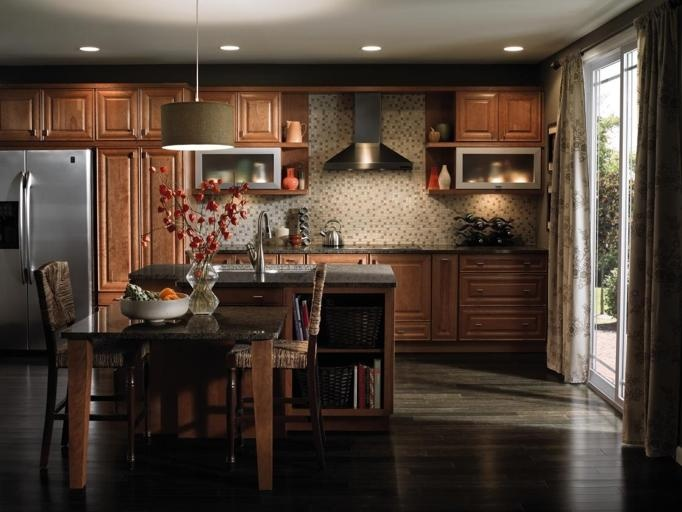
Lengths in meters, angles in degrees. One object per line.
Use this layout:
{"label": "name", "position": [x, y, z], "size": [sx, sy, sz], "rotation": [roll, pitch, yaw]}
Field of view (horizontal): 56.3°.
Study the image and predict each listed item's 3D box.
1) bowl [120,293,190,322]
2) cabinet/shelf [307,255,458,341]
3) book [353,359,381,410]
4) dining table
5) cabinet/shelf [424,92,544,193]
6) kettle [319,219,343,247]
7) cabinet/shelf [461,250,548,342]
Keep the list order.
{"label": "bowl", "position": [-1.093, 0.316, 3.783], "size": [0.228, 0.080, 0.216], "rotation": [-1, 4, 0]}
{"label": "cabinet/shelf", "position": [0.189, 0.313, 6.791], "size": [1.798, 0.966, 0.903], "rotation": [1, 17, -6]}
{"label": "book", "position": [0.193, 0.908, 4.543], "size": [0.252, 0.314, 0.110], "rotation": [-1, 1, 43]}
{"label": "dining table", "position": [-0.945, 0.963, 4.274], "size": [1.304, 0.863, 1.203], "rotation": [-2, -7, 7]}
{"label": "cabinet/shelf", "position": [1.545, -1.188, 6.653], "size": [1.206, 0.983, 0.433], "rotation": [0, 1, 3]}
{"label": "kettle", "position": [-0.101, -0.229, 6.921], "size": [0.342, 0.301, 0.218], "rotation": [-2, 6, -17]}
{"label": "cabinet/shelf", "position": [1.477, 0.414, 6.824], "size": [1.222, 1.075, 0.837], "rotation": [0, -1, 2]}
